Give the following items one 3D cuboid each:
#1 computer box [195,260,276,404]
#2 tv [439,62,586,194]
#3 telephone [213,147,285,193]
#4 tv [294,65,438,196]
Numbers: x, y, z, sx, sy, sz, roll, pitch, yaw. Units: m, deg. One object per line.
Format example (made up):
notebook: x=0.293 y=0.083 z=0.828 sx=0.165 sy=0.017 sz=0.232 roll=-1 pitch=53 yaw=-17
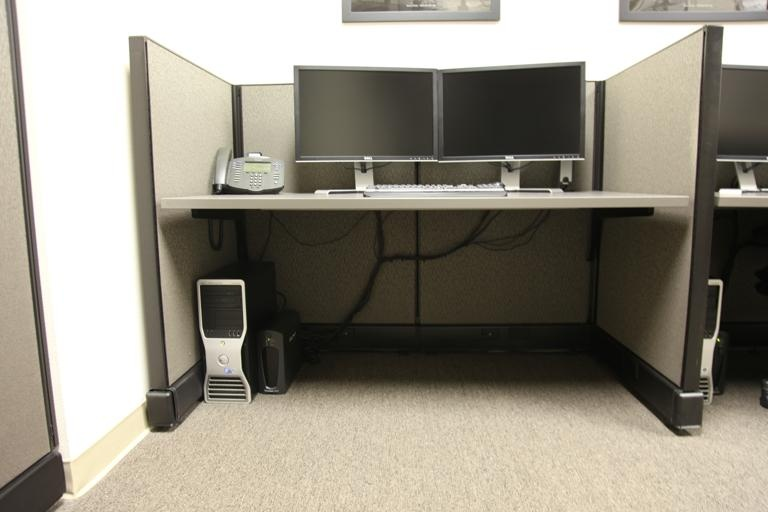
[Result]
computer box: x=-0.643 y=0.311 z=2.678 sx=0.261 sy=0.517 sz=0.385 roll=-1 pitch=13 yaw=3
tv: x=0.575 y=-0.568 z=2.783 sx=0.639 sy=0.564 sz=0.197 roll=2 pitch=16 yaw=16
telephone: x=-0.590 y=-0.366 z=2.678 sx=0.290 sy=0.180 sz=0.237 roll=1 pitch=20 yaw=-7
tv: x=-0.084 y=-0.565 z=2.786 sx=0.635 sy=0.557 sz=0.148 roll=-1 pitch=14 yaw=-6
